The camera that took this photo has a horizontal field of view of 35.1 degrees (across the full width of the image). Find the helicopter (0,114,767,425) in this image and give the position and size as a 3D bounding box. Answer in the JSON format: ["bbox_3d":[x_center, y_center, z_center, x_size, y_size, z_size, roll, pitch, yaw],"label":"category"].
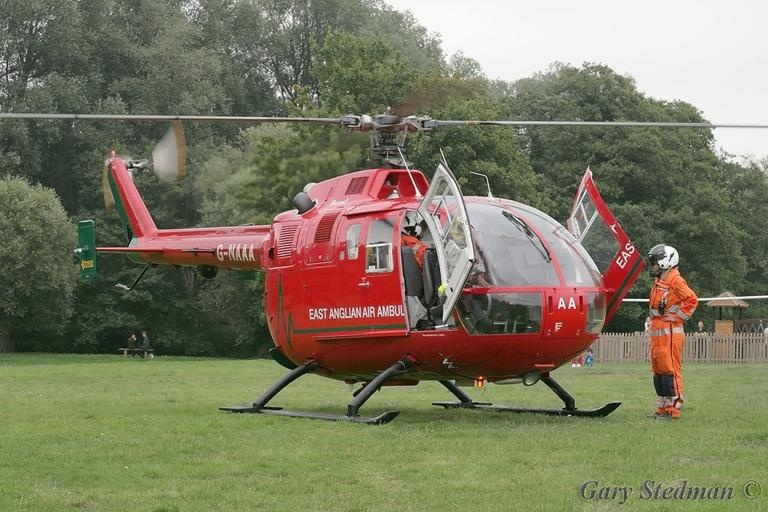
[{"bbox_3d":[-1.362,0.588,37.812,15.219,4.399,14.335,-2,-2,40],"label":"helicopter"}]

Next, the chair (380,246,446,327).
[{"bbox_3d":[0.964,0.881,34.720,1.285,2.333,0.891,0,15,9],"label":"chair"}]

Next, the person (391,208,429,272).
[{"bbox_3d":[0.801,-0.455,34.683,1.439,1.405,0.640,2,-14,-13],"label":"person"}]
